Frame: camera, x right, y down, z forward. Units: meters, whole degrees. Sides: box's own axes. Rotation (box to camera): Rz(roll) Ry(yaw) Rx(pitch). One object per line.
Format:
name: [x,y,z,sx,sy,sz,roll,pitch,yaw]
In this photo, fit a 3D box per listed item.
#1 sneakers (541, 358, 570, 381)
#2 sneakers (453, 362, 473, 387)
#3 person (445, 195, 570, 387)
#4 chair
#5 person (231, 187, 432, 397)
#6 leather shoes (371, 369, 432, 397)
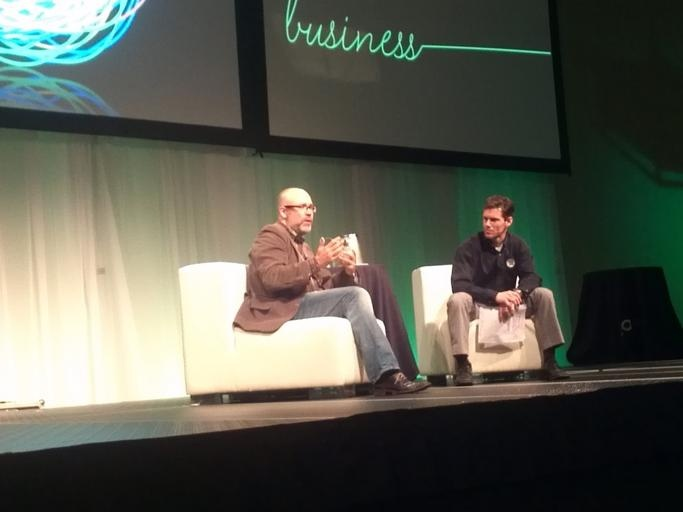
sneakers: [1.041,0.563,2.710,0.062,0.121,0.159,6,-19,-21]
sneakers: [0.581,0.565,2.639,0.071,0.105,0.241,-3,-14,8]
person: [0.805,0.157,2.968,0.533,1.053,0.746,3,-10,-13]
chair: [0.143,0.359,2.845,1.886,0.708,0.877,4,-4,-28]
person: [-0.076,0.164,2.598,0.760,1.119,0.523,-14,-16,19]
leather shoes: [0.245,0.502,2.271,0.254,0.140,0.101,-10,-11,17]
